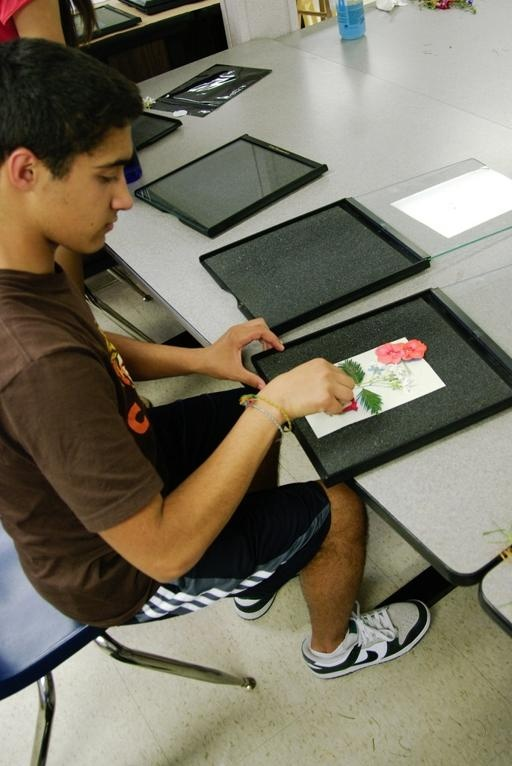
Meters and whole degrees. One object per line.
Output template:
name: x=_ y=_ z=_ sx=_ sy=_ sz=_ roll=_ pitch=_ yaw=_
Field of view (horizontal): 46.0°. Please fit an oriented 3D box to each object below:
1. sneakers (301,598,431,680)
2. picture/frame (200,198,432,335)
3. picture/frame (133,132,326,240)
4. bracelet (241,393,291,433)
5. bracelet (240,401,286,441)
sneakers: x=0.208 y=0.546 z=1.350 sx=0.331 sy=0.132 sz=0.123 roll=-22 pitch=63 yaw=1
picture/frame: x=0.113 y=-0.216 z=1.166 sx=0.342 sy=0.037 sz=0.295 roll=-25 pitch=46 yaw=-14
picture/frame: x=-0.061 y=-0.489 z=1.485 sx=0.361 sy=0.035 sz=0.339 roll=-37 pitch=50 yaw=-24
bracelet: x=0.019 y=0.054 z=0.931 sx=0.056 sy=0.026 sz=0.073 roll=-37 pitch=73 yaw=-1
bracelet: x=0.011 y=0.067 z=0.913 sx=0.047 sy=0.062 sz=0.023 roll=12 pitch=54 yaw=44
